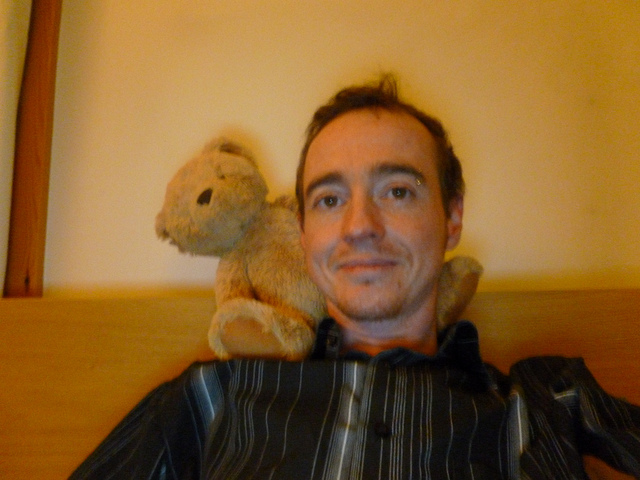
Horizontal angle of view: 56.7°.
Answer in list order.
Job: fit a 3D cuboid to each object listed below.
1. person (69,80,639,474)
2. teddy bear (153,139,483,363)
[{"bbox_3d":[0.162,0.123,1.625,1.035,0.718,0.415,-2,-22,6],"label":"person"},{"bbox_3d":[-0.204,0.010,1.603,0.392,0.599,0.293,0,1,40],"label":"teddy bear"}]
